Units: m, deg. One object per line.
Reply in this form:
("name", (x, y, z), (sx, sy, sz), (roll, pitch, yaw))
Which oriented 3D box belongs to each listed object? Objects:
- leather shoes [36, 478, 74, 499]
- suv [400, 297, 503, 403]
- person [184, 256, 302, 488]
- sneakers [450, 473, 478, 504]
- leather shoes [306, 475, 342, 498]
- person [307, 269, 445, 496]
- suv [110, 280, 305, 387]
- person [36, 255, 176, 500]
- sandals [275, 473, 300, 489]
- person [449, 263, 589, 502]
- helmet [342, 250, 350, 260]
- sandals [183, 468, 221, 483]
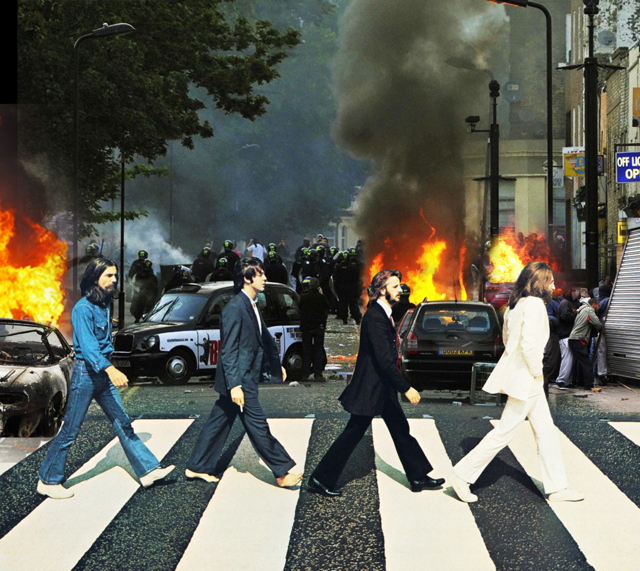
("leather shoes", (-1.951, 1.502, 5.459), (0.223, 0.107, 0.132), (0, 4, 4))
("suv", (1.918, 0.901, 11.158), (0.971, 0.945, 1.798), (-1, 5, 3))
("person", (-0.591, 0.676, 5.770), (0.890, 1.763, 0.576), (0, 1, -12))
("sneakers", (1.055, 1.474, 5.440), (0.221, 0.197, 0.204), (1, 1, 31))
("leather shoes", (0.021, 1.499, 5.514), (0.288, 0.143, 0.106), (12, 4, 4))
("person", (0.422, 0.729, 5.574), (0.922, 1.664, 0.458), (1, 1, 11))
("suv", (-1.767, 0.763, 12.122), (2.431, 1.249, 1.696), (2, -3, -29))
("person", (-1.650, 0.677, 5.606), (0.920, 1.779, 0.665), (0, 1, -23))
("sandals", (-0.237, 1.503, 5.739), (0.191, 0.122, 0.227), (1, 1, -5))
("person", (1.479, 0.703, 5.527), (0.881, 1.746, 0.418), (1, 1, 0))
("helmet", (0.839, -0.961, 23.928), (0.264, 0.153, 0.393), (1, 7, 5))
("sandals", (-0.928, 1.497, 5.834), (0.307, 0.154, 0.112), (2, 9, -7))
